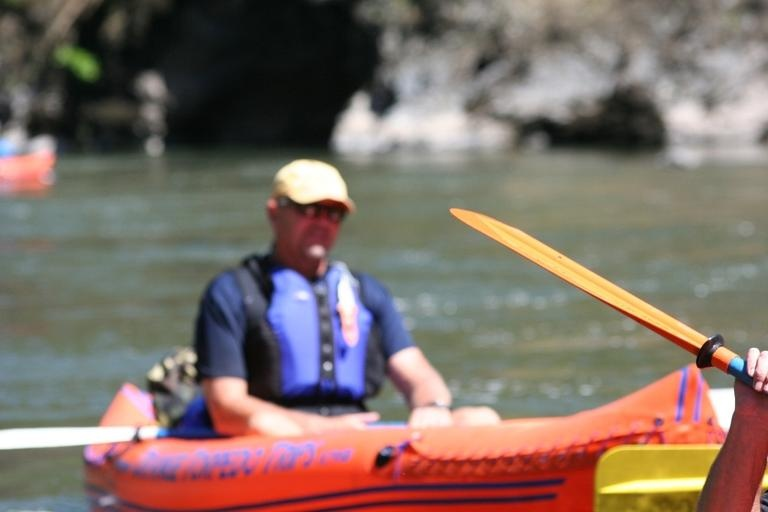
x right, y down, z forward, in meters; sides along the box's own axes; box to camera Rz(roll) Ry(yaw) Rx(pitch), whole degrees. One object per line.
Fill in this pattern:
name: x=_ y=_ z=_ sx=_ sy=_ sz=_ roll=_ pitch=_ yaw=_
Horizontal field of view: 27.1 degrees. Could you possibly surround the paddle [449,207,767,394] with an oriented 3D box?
paddle: x=3.730 y=0.846 z=26.325 sx=5.095 sy=0.737 sz=0.522 roll=31 pitch=60 yaw=13
